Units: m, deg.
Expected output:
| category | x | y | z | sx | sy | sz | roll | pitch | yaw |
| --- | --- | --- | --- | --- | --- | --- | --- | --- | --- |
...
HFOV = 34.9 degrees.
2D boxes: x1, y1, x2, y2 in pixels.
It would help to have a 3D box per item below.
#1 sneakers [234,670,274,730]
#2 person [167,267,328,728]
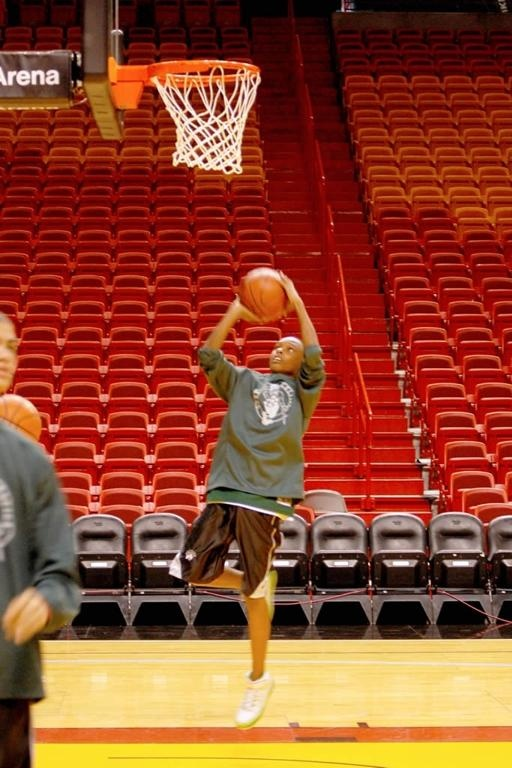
| category | x | y | z | sx | sy | sz | roll | pitch | yaw |
| --- | --- | --- | --- | --- | --- | --- | --- | --- | --- |
| sneakers | -0.006 | 0.990 | 2.542 | 0.089 | 0.163 | 0.136 | -3 | -10 | 21 |
| person | -0.027 | 0.354 | 2.617 | 0.482 | 1.445 | 0.307 | 1 | -10 | -5 |
